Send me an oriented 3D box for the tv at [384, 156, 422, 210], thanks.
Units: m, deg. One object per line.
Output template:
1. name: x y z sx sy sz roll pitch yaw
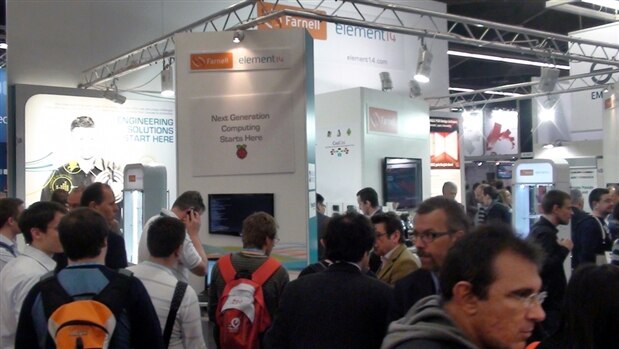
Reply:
1. tv: 2.045 0.211 10.701 0.139 0.946 1.309 -2 -2 41

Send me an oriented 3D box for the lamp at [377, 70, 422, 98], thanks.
1. lamp: 2.343 -2.357 12.469 0.456 0.618 1.806 -9 -11 42
